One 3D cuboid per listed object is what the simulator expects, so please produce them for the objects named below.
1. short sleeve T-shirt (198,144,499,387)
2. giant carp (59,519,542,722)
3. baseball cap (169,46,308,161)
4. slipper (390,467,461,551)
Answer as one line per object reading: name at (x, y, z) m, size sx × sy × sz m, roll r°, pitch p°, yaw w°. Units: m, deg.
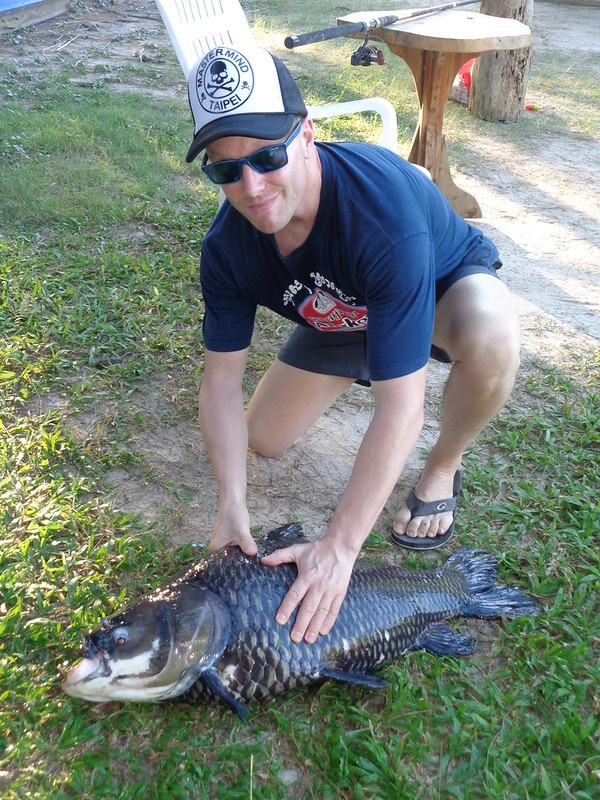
short sleeve T-shirt at (0.079, -0.385, 1.912) m, size 0.711 × 0.619 × 0.737 m, roll 11°, pitch 33°, yaw 19°
giant carp at (0.058, 0.543, 1.732) m, size 1.251 × 0.417 × 0.267 m, roll -1°, pitch -14°, yaw -21°
baseball cap at (-0.144, -0.740, 1.622) m, size 0.275 × 0.192 × 0.370 m, roll -4°, pitch 34°, yaw 16°
slipper at (0.451, 0.372, 2.332) m, size 0.199 × 0.115 × 0.493 m, roll 4°, pitch 13°, yaw 19°
